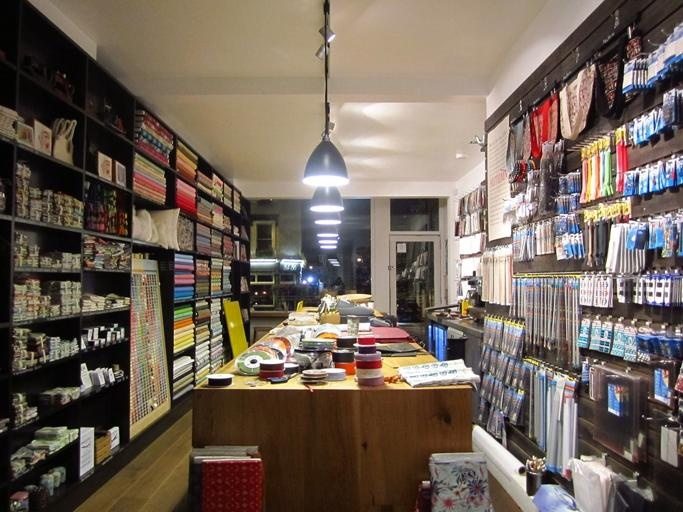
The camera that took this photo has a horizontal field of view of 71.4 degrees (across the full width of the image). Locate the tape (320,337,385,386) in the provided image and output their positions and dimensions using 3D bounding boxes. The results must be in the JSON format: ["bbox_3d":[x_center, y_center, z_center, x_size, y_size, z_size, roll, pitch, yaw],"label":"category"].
[{"bbox_3d":[0.078,0.578,2.696,0.305,0.297,0.199,-3,-2,41],"label":"tape"}]

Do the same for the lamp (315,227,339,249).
[{"bbox_3d":[-0.284,-0.358,10.441,0.447,0.547,0.479,1,-5,15],"label":"lamp"}]

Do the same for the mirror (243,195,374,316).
[{"bbox_3d":[-0.699,0.061,9.441,2.157,2.367,0.161,-1,-2,2],"label":"mirror"}]
